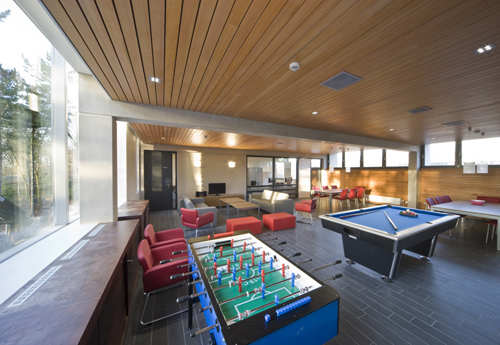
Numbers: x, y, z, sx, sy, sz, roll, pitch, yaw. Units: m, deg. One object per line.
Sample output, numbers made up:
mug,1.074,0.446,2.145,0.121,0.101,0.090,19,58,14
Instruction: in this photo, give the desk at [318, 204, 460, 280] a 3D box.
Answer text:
desk,2.636,1.350,5.454,2.110,1.159,1.420,-1,0,-30

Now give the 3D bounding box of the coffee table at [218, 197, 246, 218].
coffee table,-0.634,1.225,9.671,0.591,0.432,0.942,0,-2,-19

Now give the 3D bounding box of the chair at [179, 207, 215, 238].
chair,-1.350,1.238,7.268,0.816,0.735,1.176,-1,-1,-9

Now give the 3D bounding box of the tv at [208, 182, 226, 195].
tv,-1.321,0.613,10.941,0.538,0.348,0.131,0,3,-17

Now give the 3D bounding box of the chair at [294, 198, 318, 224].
chair,1.702,1.119,8.680,0.577,0.725,1.487,-1,-1,9

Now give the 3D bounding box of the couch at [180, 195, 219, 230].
couch,-1.303,0.727,7.091,0.764,0.691,1.398,-1,2,-27

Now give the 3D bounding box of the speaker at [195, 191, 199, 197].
speaker,-2.003,0.789,10.643,0.183,0.164,0.089,2,7,9

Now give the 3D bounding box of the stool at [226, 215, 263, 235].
stool,-0.164,1.332,6.992,0.830,0.396,0.541,-1,-1,-34

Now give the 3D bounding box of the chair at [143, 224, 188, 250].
chair,-1.560,1.165,5.143,0.589,0.524,0.487,-6,5,-21
